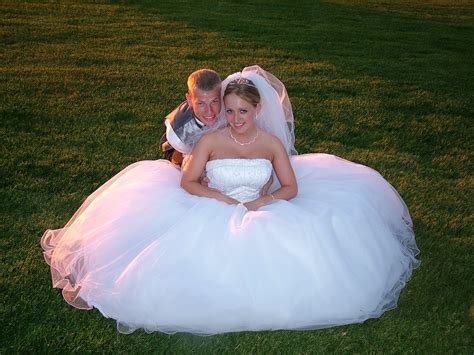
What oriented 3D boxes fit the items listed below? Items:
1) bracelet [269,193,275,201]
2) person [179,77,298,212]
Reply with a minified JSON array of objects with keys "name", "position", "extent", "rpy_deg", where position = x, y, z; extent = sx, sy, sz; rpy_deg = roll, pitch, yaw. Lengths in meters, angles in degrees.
[{"name":"bracelet","position":[0.466,0.265,6.717],"extent":[0.074,0.061,0.020],"rpy_deg":[41,92,24]},{"name":"person","position":[0.073,-0.429,6.735],"extent":[1.524,1.455,0.951],"rpy_deg":[5,34,6]}]
